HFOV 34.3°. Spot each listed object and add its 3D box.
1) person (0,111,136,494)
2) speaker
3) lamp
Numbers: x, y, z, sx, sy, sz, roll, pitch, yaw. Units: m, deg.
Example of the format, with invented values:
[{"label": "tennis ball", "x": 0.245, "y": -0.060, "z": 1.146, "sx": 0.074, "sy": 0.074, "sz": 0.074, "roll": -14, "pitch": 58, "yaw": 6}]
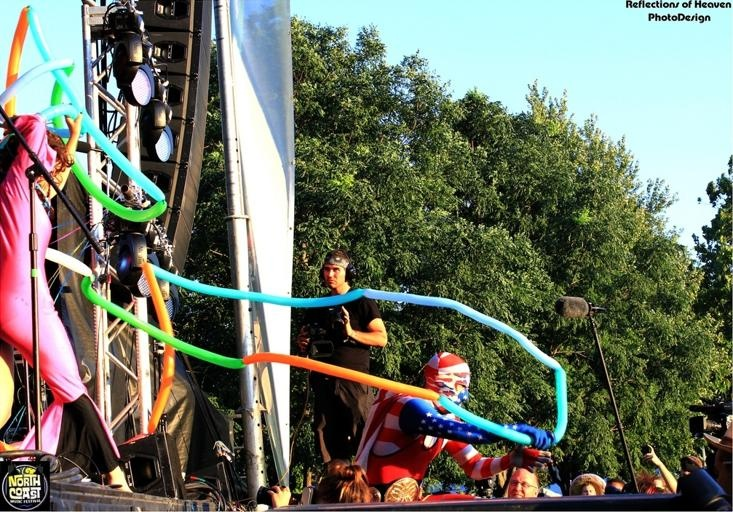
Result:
[{"label": "person", "x": -2.949, "y": 0.364, "z": 11.257, "sx": 1.269, "sy": 3.222, "sz": 0.644, "roll": 9, "pitch": -4, "yaw": -39}, {"label": "speaker", "x": -2.186, "y": 2.249, "z": 12.154, "sx": 0.678, "sy": 0.721, "sz": 0.523, "roll": -18, "pitch": -12, "yaw": 19}, {"label": "lamp", "x": -2.652, "y": -2.082, "z": 14.090, "sx": 0.645, "sy": 1.560, "sz": 1.719, "roll": 6, "pitch": -4, "yaw": 4}]
